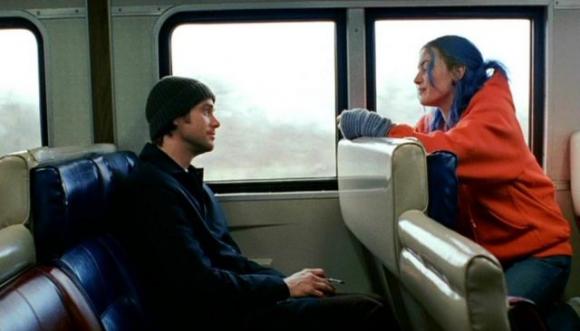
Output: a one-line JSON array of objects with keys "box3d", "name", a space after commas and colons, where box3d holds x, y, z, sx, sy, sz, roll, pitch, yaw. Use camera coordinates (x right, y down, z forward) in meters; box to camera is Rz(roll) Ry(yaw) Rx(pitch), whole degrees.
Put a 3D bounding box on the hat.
[{"box3d": [-0.704, -0.324, 3.223, 0.404, 0.331, 0.369, -13, 2, -6], "name": "hat"}]
